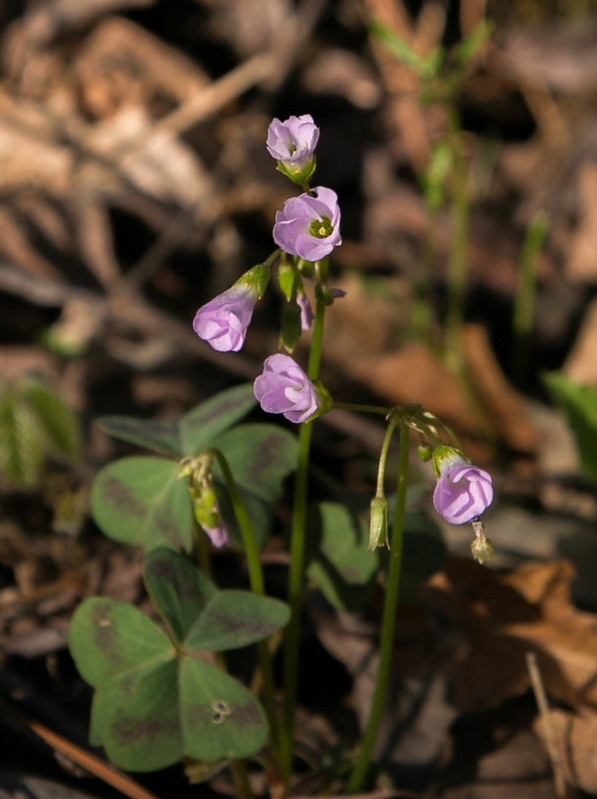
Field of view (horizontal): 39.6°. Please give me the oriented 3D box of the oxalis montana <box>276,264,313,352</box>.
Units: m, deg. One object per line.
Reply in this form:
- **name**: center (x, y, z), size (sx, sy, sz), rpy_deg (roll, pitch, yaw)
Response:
- **oxalis montana**: center (-0.007, -0.187, 1.661), size (0.067, 0.060, 0.184), rpy_deg (-2, 91, 2)

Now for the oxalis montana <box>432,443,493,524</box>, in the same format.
- **oxalis montana**: center (0.291, 0.142, 1.467), size (0.112, 0.059, 0.135), rpy_deg (-27, 83, 24)

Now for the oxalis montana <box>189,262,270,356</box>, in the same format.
- **oxalis montana**: center (-0.132, -0.174, 1.628), size (0.109, 0.087, 0.193), rpy_deg (45, 57, -23)

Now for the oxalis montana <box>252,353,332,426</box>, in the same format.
- **oxalis montana**: center (-0.017, -0.019, 1.468), size (0.138, 0.114, 0.063), rpy_deg (7, 43, 20)
